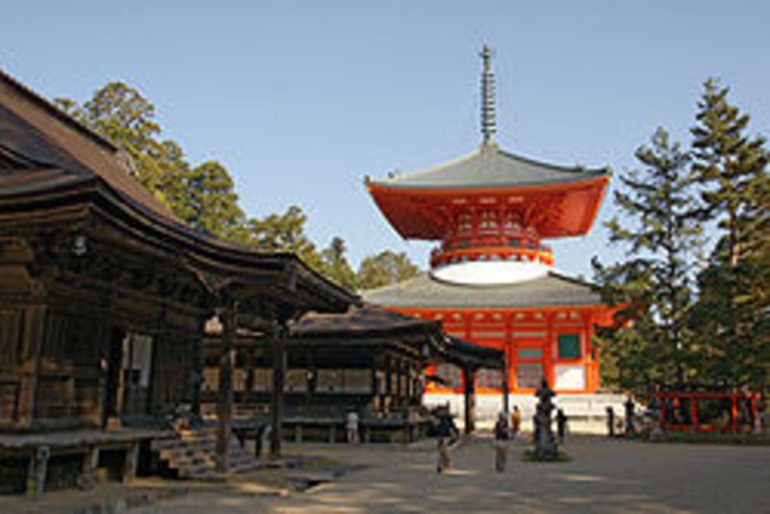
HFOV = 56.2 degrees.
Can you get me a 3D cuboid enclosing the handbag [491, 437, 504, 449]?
[{"bbox_3d":[3.496,5.713,22.197,0.569,0.157,0.476,5,-6,4],"label":"handbag"}]
